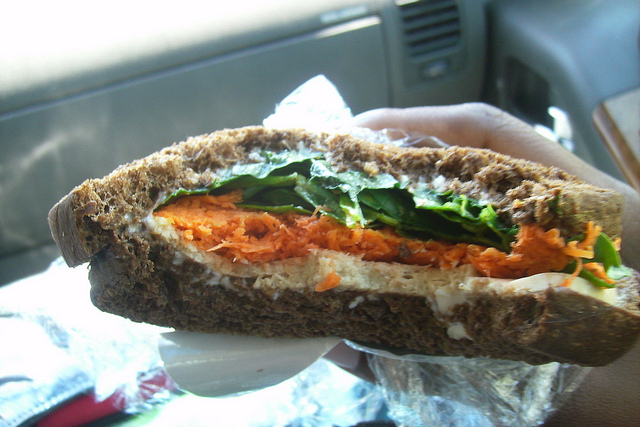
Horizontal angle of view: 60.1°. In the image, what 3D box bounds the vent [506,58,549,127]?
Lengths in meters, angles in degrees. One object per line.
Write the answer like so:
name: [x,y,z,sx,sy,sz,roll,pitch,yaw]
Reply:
vent: [0.960,-0.568,2.577,0.057,0.327,0.194,-32,32,-28]
